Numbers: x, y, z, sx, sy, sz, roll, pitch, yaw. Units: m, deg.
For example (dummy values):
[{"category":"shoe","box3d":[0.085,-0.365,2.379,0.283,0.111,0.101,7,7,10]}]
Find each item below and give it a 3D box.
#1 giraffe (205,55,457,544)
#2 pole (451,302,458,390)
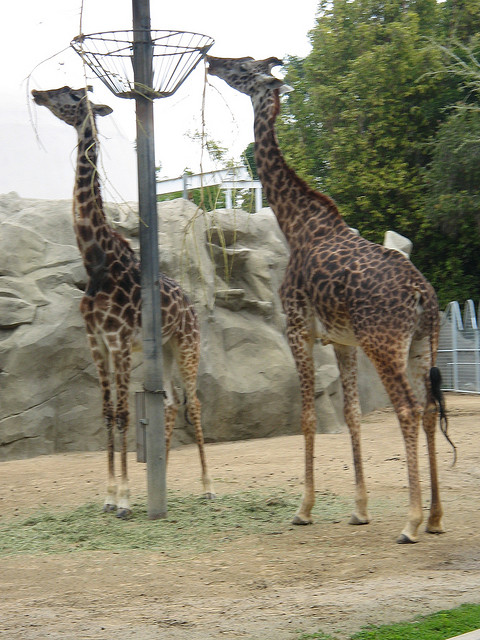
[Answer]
[{"category":"giraffe","box3d":[0.757,-0.352,5.894,0.699,3.658,1.661,-4,-1,-39]},{"category":"pole","box3d":[5.543,0.752,19.474,0.230,2.928,0.221,16,48,32]}]
